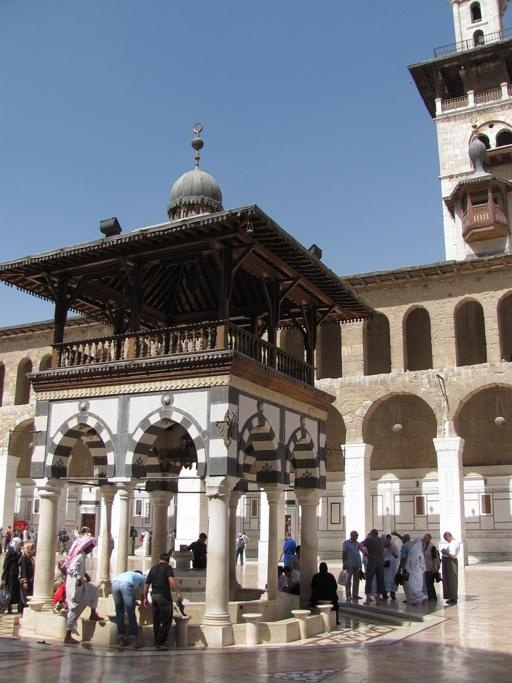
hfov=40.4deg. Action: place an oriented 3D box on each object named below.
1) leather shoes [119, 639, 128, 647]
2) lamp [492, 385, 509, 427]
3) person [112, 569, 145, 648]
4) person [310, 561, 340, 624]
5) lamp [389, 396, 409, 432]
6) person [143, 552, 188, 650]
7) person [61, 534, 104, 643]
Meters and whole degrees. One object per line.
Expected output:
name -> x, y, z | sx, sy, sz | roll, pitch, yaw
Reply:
leather shoes -> -1.627, 3.665, 8.438 | 0.116, 0.107, 0.053 | 34, -54, -31
lamp -> 8.634, 2.310, 24.686 | 0.415, 1.358, 0.268 | -7, -17, 17
person -> -1.636, 3.371, 8.867 | 0.392, 0.848, 1.116 | 1, -16, -9
person -> 1.076, 4.025, 11.141 | 0.435, 0.890, 0.837 | -3, -16, 3
lamp -> 5.294, 2.747, 26.217 | 0.518, 1.403, 0.368 | -6, -17, 16
person -> -1.178, 3.242, 8.790 | 0.482, 1.081, 1.520 | 0, -16, -6
person -> -2.209, 3.141, 8.887 | 0.512, 1.277, 0.861 | 3, -16, -14
